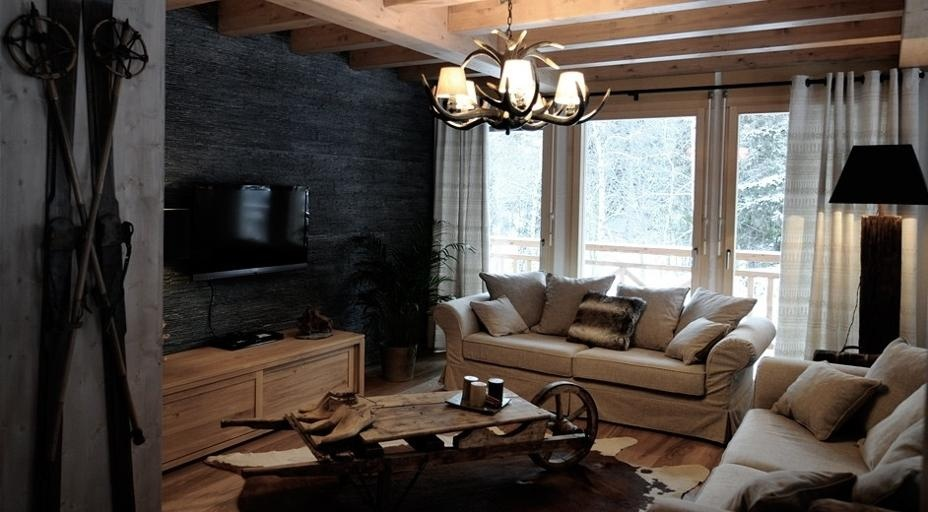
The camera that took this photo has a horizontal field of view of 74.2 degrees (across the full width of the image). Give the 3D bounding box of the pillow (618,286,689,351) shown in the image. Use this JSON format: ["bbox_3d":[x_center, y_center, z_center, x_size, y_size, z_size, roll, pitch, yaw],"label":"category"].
[{"bbox_3d":[1.848,0.573,5.924,0.678,0.561,0.285,7,-20,20],"label":"pillow"}]

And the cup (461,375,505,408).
[{"bbox_3d":[0.154,1.033,4.697,0.371,0.182,0.172,0,5,4],"label":"cup"}]

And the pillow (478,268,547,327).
[{"bbox_3d":[0.512,0.452,6.421,0.681,0.455,0.286,-4,-7,-25],"label":"pillow"}]

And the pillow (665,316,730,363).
[{"bbox_3d":[2.054,0.753,5.484,0.138,0.418,0.438,38,-3,-26],"label":"pillow"}]

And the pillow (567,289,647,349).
[{"bbox_3d":[1.372,0.599,5.940,0.649,0.522,0.182,11,-20,37],"label":"pillow"}]
